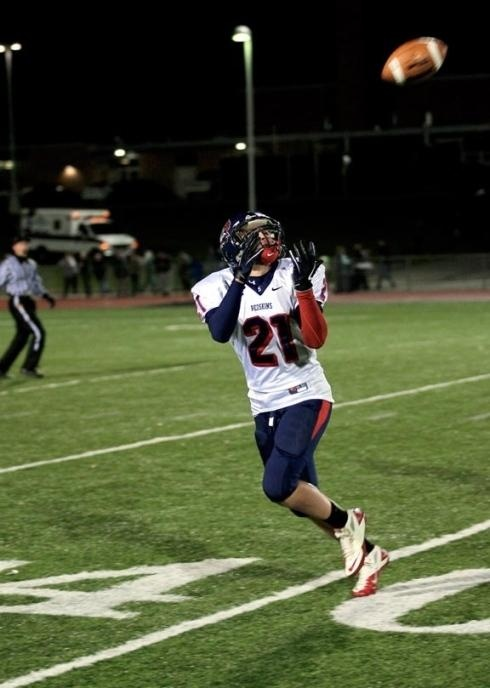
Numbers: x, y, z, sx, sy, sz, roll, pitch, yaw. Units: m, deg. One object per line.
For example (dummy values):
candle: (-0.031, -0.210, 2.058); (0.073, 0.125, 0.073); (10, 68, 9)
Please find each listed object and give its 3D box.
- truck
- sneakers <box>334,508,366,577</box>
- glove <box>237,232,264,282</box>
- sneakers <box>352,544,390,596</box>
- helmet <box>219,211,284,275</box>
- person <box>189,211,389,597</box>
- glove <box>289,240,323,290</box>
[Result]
truck: (-8.501, -5.794, 39.355); (6.582, 2.559, 3.711); (10, 12, 35)
sneakers: (0.448, 0.809, 3.028); (0.158, 0.284, 0.104); (19, -30, -18)
glove: (0.025, -0.352, 2.989); (0.093, 0.150, 0.210); (-7, 43, 15)
sneakers: (0.517, 0.944, 3.043); (0.124, 0.225, 0.081); (36, -7, -27)
helmet: (0.000, -0.470, 3.238); (0.322, 0.201, 0.237); (-3, 7, 34)
person: (0.151, 0.236, 3.147); (0.621, 1.660, 0.722); (-7, 7, -31)
glove: (0.230, -0.312, 2.877); (0.148, 0.170, 0.052); (-4, -18, 9)
